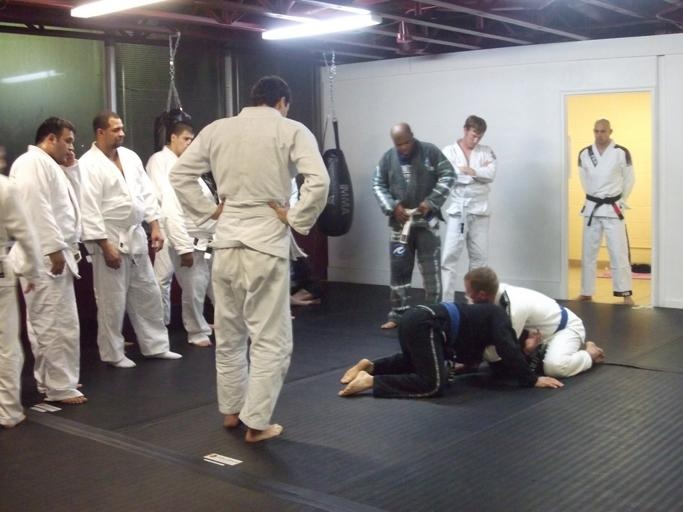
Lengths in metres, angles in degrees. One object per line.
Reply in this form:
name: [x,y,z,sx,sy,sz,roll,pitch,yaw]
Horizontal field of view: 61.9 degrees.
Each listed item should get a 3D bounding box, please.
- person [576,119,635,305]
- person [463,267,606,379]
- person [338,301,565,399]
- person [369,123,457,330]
person: [3.092,-0.535,6.633,0.642,2.127,0.407,2,8,26]
person: [1.462,0.505,4.335,1.168,0.683,0.765,9,4,-1]
person: [0.723,0.561,3.897,1.325,0.518,0.695,-3,-3,-9]
person: [0.732,-0.298,5.693,0.818,2.016,0.391,-1,7,7]
